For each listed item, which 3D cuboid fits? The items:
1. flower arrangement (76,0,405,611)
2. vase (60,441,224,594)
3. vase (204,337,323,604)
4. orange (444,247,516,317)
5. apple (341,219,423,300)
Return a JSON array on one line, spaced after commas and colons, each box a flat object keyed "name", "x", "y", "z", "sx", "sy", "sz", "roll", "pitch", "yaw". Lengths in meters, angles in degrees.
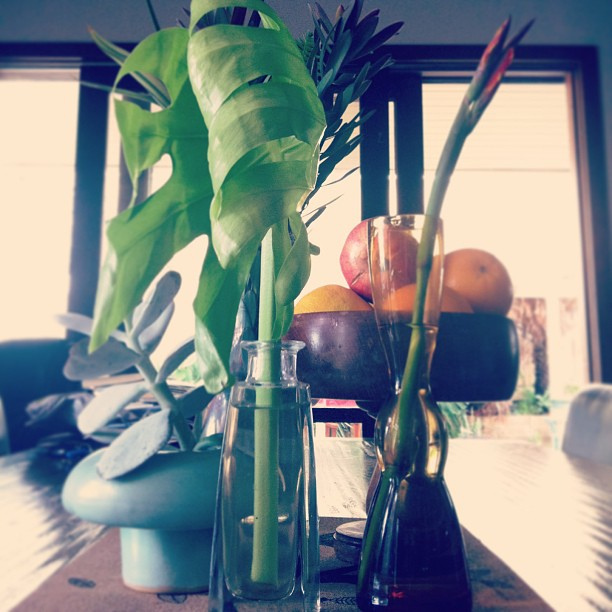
[{"name": "flower arrangement", "x": -0.039, "y": -0.028, "z": 0.470, "sx": 0.248, "sy": 0.365, "sz": 0.208, "roll": 3, "pitch": -2, "yaw": -24}, {"name": "vase", "x": -0.117, "y": 0.176, "z": 0.539, "sx": 0.143, "sy": 0.130, "sz": 0.160, "roll": 0, "pitch": 2, "yaw": 3}, {"name": "vase", "x": -0.026, "y": 0.118, "z": 0.443, "sx": 0.076, "sy": 0.149, "sz": 0.030, "roll": 2, "pitch": -1, "yaw": 1}, {"name": "orange", "x": 0.158, "y": -0.025, "z": 0.605, "sx": 0.063, "sy": 0.077, "sz": 0.072, "roll": 2, "pitch": -17, "yaw": 0}, {"name": "apple", "x": 0.050, "y": -0.032, "z": 0.503, "sx": 0.048, "sy": 0.057, "sz": 0.047, "roll": -17, "pitch": -9, "yaw": -38}]
